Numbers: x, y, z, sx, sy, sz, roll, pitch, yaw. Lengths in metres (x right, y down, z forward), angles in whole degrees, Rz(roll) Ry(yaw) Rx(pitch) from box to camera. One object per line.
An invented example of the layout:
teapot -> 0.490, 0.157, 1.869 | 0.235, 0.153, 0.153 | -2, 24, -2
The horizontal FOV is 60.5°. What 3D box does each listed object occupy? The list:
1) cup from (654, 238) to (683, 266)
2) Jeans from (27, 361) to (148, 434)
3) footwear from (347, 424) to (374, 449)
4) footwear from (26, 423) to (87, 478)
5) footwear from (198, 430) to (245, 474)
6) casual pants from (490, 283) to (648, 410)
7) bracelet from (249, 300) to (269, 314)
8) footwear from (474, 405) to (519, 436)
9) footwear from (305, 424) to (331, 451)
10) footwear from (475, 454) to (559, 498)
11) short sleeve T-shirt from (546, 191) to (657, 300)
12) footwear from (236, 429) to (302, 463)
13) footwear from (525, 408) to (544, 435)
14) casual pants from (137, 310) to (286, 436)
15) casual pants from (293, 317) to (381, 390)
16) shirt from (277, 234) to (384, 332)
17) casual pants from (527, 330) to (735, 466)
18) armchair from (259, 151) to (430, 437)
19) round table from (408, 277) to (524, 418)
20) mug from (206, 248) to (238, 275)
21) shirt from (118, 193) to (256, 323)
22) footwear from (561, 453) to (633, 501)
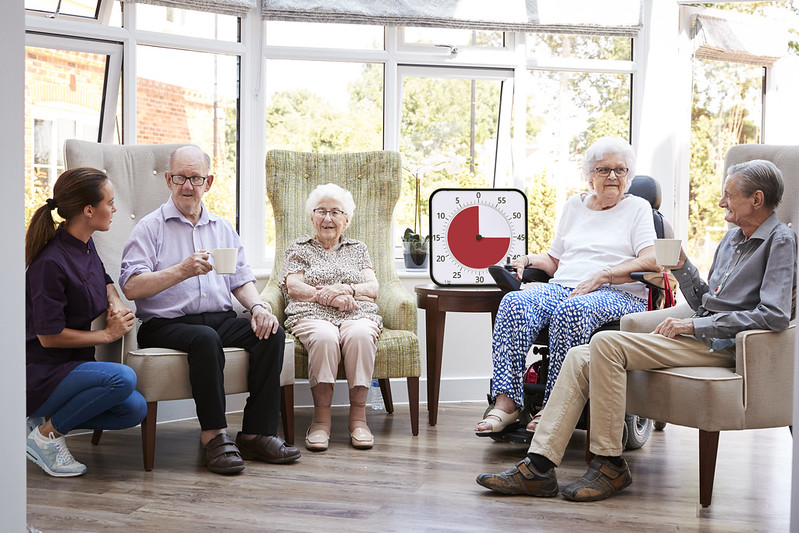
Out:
cup -> 1.116, -0.064, 2.850 | 0.108, 0.096, 0.105 | 0, 0, 0
Jeans -> -1.372, 0.607, 3.061 | 0.363, 0.198, 0.386 | -19, -43, 14
footwear -> -0.202, 0.867, 3.495 | 0.099, 0.088, 0.240 | 1, 1, -4
footwear -> -1.554, 0.839, 3.096 | 0.306, 0.136, 0.124 | 25, 5, 12
footwear -> -0.829, 0.862, 3.163 | 0.112, 0.126, 0.261 | 4, -4, -38
casual pants -> 0.940, 0.355, 3.362 | 0.538, 0.774, 0.671 | 0, -4, 44
bracelet -> -0.706, 0.213, 3.467 | 0.063, 0.074, 0.028 | -4, 20, -5
footwear -> 0.464, 0.727, 3.276 | 0.095, 0.085, 0.253 | -1, 0, 42
footwear -> -0.415, 0.863, 3.474 | 0.108, 0.105, 0.138 | 1, 4, -2
footwear -> 0.513, 0.910, 2.996 | 0.376, 0.182, 0.149 | 6, -6, 0
short sleeve T-shirt -> 1.061, -0.084, 3.641 | 0.659, 0.665, 0.390 | 2, -9, 45
footwear -> -0.638, 0.872, 3.353 | 0.314, 0.161, 0.120 | 2, 1, 14
footwear -> 0.634, 0.734, 3.219 | 0.063, 0.071, 0.179 | -2, -1, 16
casual pants -> -0.864, 0.520, 3.477 | 0.638, 0.722, 0.546 | -8, -9, 43
casual pants -> -0.335, 0.402, 3.793 | 0.477, 0.321, 0.737 | -1, 13, -20
shirt -> -0.394, 0.030, 3.749 | 0.424, 0.569, 0.213 | 0, -36, -10
casual pants -> 1.249, 0.490, 3.103 | 1.174, 0.686, 0.417 | 3, -3, -23
armchair -> -0.382, 0.070, 3.792 | 0.952, 1.568, 1.034 | -2, 2, -20
round table -> 0.241, 0.440, 3.858 | 0.634, 0.784, 0.650 | 1, 0, 0
mug -> -0.775, -0.027, 3.038 | 0.095, 0.112, 0.112 | 0, 4, -10
shirt -> -1.091, -0.039, 3.488 | 0.424, 0.641, 0.783 | 8, 7, 41
footwear -> 0.869, 0.906, 2.957 | 0.361, 0.164, 0.133 | -6, 1, -28
